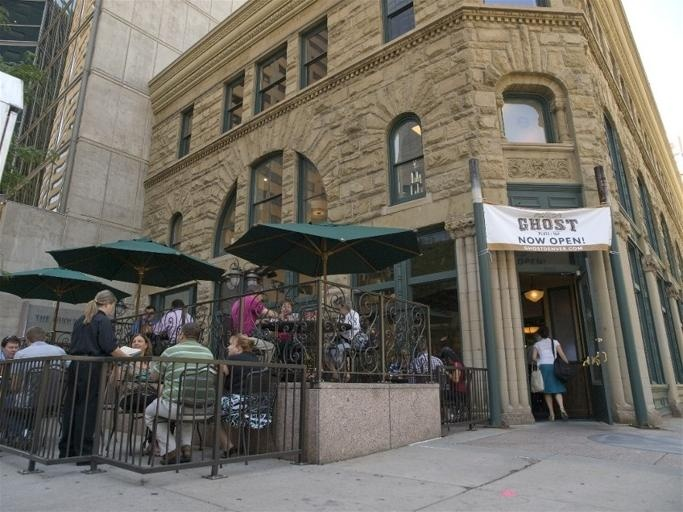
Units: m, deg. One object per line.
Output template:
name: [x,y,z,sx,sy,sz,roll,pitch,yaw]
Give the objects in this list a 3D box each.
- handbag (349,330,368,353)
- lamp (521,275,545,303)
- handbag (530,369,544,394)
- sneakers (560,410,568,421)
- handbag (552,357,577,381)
handbag: [0.320,1.455,7.753,0.310,0.309,0.245,-18,-39,38]
lamp: [6.321,1.112,15.106,0.728,0.828,1.179,-4,-12,21]
handbag: [4.693,2.981,11.002,0.256,0.533,0.424,-3,-12,16]
sneakers: [5.248,3.725,10.709,0.198,0.213,0.541,-6,-21,18]
handbag: [5.228,2.668,10.783,0.425,0.600,0.278,-4,-12,20]
